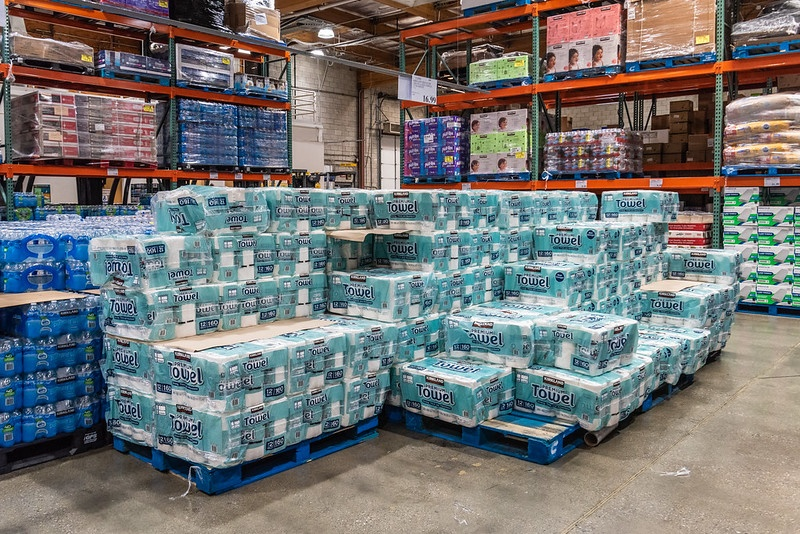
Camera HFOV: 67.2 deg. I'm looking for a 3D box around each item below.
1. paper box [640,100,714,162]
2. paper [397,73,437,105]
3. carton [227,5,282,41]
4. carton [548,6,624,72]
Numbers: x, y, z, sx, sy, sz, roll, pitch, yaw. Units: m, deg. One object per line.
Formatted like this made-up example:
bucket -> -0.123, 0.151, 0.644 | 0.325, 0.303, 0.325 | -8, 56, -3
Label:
paper box -> 5.394, -2.532, 11.830 | 1.522, 1.296, 0.926 | -1, -7, 35
paper -> 0.211, -2.282, 7.699 | 0.393, 0.326, 0.641 | 3, 14, 14
carton -> -2.567, -4.346, 10.860 | 0.833, 0.439, 0.818 | -4, 6, -38
carton -> 3.193, -3.850, 10.223 | 1.394, 0.886, 0.712 | 5, 9, 40
